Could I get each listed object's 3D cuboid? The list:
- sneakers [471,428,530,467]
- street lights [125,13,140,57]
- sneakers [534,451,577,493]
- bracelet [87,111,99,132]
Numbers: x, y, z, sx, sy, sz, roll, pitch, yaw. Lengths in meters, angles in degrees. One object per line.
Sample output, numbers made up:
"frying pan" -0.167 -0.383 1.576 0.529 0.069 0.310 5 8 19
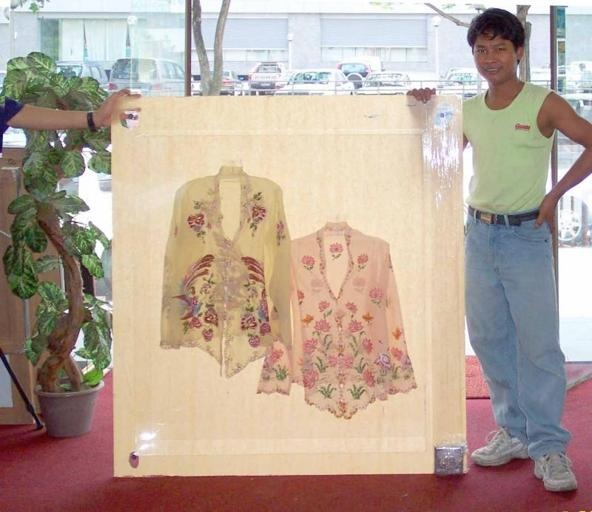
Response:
"sneakers" 0.922 0.857 3.974 0.265 0.163 0.121 -1 -5 -18
"street lights" -0.907 -1.193 4.754 0.076 0.221 0.019 3 12 16
"sneakers" 1.122 0.899 3.726 0.173 0.119 0.185 0 15 5
"bracelet" -0.923 -0.597 3.894 0.047 0.081 0.079 5 -5 -10
